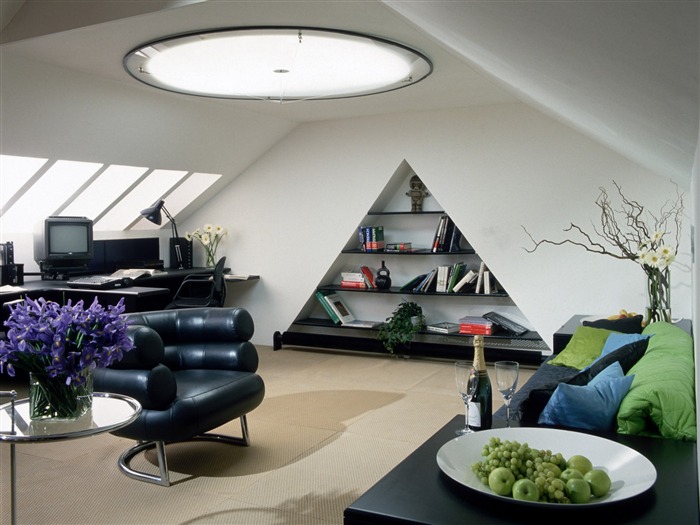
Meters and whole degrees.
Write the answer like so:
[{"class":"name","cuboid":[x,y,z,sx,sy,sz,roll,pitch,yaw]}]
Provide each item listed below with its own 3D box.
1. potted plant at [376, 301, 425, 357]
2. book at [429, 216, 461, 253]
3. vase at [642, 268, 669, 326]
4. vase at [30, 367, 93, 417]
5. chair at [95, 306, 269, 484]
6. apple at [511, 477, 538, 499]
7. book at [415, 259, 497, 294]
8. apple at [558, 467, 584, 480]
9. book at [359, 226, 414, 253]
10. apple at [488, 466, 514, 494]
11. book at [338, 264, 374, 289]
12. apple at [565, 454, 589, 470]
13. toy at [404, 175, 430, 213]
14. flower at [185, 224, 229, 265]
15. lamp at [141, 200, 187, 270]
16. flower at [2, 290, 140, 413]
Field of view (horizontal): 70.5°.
[{"class":"potted plant","cuboid":[0.604,0.746,5.710,0.551,0.571,0.441,-1,3,-14]},{"class":"book","cuboid":[1.129,-0.334,5.693,0.388,0.439,0.269,0,3,-2]},{"class":"vase","cuboid":[2.438,0.246,3.910,0.194,0.196,0.539,-6,-46,29]},{"class":"vase","cuboid":[-1.279,0.545,2.226,0.223,0.204,0.228,-2,-5,28]},{"class":"chair","cuboid":[-1.123,0.706,3.257,0.885,0.869,1.063,2,3,26]},{"class":"apple","cuboid":[0.495,0.632,1.384,0.056,0.058,0.068,4,-12,3]},{"class":"book","cuboid":[1.242,0.169,5.686,1.016,0.354,0.378,1,3,17]},{"class":"apple","cuboid":[0.638,0.603,1.418,0.044,0.036,0.036,20,-5,7]},{"class":"book","cuboid":[0.424,-0.297,5.995,0.686,0.312,0.427,1,3,10]},{"class":"apple","cuboid":[0.438,0.624,1.425,0.070,0.068,0.072,28,-14,13]},{"class":"book","cuboid":[0.096,0.157,6.097,0.305,0.194,0.306,0,2,19]},{"class":"apple","cuboid":[0.689,0.600,1.491,0.045,0.044,0.045,0,-27,-47]},{"class":"toy","cuboid":[0.800,-0.829,5.911,0.276,0.475,0.254,1,4,23]},{"class":"flower","cuboid":[-1.824,-0.245,6.654,0.513,0.550,0.537,6,11,34]},{"class":"lamp","cuboid":[-2.297,-0.351,6.153,0.466,0.870,1.145,-1,3,-19]},{"class":"flower","cuboid":[-1.262,0.417,2.226,0.503,0.509,0.226,-1,4,-24]}]
